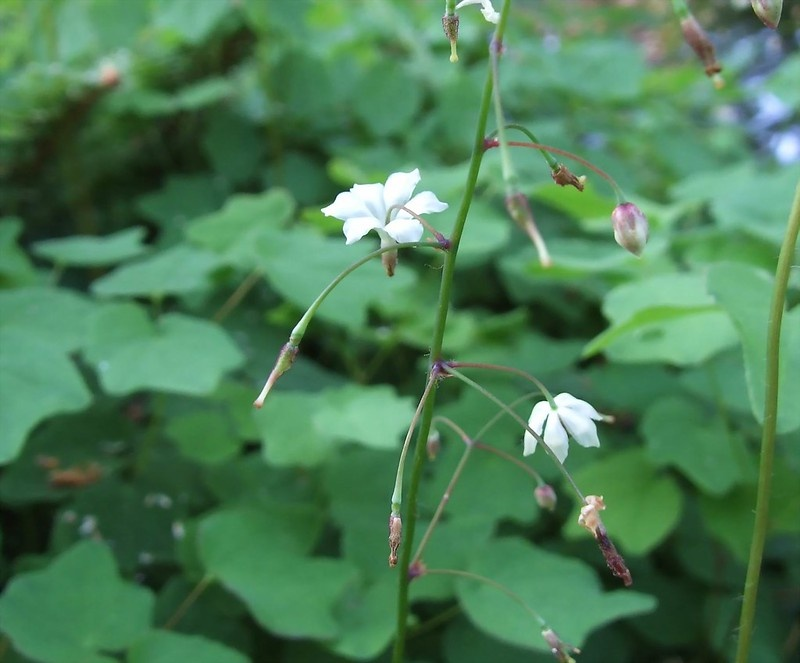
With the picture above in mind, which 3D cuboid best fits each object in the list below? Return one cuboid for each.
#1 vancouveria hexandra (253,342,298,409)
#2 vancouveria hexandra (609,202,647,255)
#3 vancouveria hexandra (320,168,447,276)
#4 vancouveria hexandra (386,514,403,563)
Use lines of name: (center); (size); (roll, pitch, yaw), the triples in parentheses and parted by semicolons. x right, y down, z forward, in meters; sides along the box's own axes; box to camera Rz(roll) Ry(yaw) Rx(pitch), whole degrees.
vancouveria hexandra: (-0.221, 0.083, 1.496); (0.124, 0.032, 0.037); (-59, 13, -20)
vancouveria hexandra: (0.310, -0.145, 1.137); (0.046, 0.070, 0.065); (4, 29, 12)
vancouveria hexandra: (-0.025, -0.152, 1.124); (0.147, 0.105, 0.144); (-34, 51, -30)
vancouveria hexandra: (-0.005, 0.254, 1.055); (0.018, 0.070, 0.021); (13, -15, -27)
